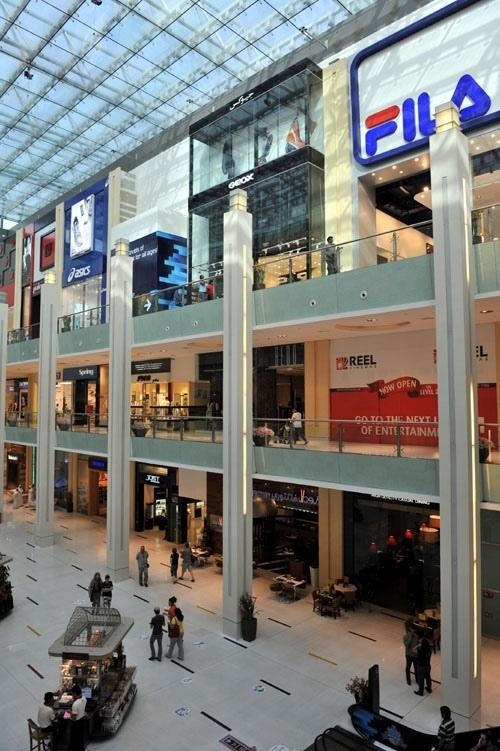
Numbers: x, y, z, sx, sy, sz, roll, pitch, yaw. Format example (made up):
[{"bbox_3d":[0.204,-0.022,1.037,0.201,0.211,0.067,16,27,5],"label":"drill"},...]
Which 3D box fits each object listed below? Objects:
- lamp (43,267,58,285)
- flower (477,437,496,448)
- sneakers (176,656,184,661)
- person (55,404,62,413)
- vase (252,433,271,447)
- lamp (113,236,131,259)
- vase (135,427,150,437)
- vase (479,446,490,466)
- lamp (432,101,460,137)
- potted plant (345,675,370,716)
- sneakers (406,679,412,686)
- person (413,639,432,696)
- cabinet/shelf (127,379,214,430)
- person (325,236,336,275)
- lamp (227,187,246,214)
[{"bbox_3d":[-8.366,-4.112,24.355,0.486,0.745,0.896,0,-2,-22],"label":"lamp"},{"bbox_3d":[4.216,1.205,10.434,0.185,0.080,0.254,3,7,38],"label":"flower"},{"bbox_3d":[-1.532,6.289,12.923,0.168,0.126,0.065,-16,-15,39],"label":"sneakers"},{"bbox_3d":[-9.634,1.650,29.397,0.205,0.825,0.359,1,-12,-8],"label":"person"},{"bbox_3d":[0.286,1.660,14.953,0.302,0.249,0.348,6,-9,-42],"label":"vase"},{"bbox_3d":[-4.302,-4.276,19.436,0.437,0.699,0.421,-1,-2,-1],"label":"lamp"},{"bbox_3d":[-3.641,1.893,19.503,0.170,0.333,0.914,1,-2,-32],"label":"vase"},{"bbox_3d":[4.158,1.405,10.412,0.213,0.337,0.105,0,-2,-12],"label":"vase"},{"bbox_3d":[3.536,-4.622,10.482,0.398,0.560,0.324,-1,-2,16],"label":"lamp"},{"bbox_3d":[1.996,5.911,10.865,0.455,0.667,0.557,-2,-15,15],"label":"potted plant"},{"bbox_3d":[3.202,6.168,11.747,0.123,0.124,0.103,0,-2,-8],"label":"sneakers"},{"bbox_3d":[3.409,5.726,11.554,0.323,0.996,0.656,-1,-2,18],"label":"person"},{"bbox_3d":[-2.695,1.246,20.192,3.049,1.231,0.405,1,-6,-7],"label":"cabinet/shelf"},{"bbox_3d":[1.860,-2.697,13.531,0.331,0.737,0.300,-2,-3,25],"label":"person"},{"bbox_3d":[-0.285,-4.509,15.088,0.406,0.592,0.389,0,-2,-12],"label":"lamp"}]
